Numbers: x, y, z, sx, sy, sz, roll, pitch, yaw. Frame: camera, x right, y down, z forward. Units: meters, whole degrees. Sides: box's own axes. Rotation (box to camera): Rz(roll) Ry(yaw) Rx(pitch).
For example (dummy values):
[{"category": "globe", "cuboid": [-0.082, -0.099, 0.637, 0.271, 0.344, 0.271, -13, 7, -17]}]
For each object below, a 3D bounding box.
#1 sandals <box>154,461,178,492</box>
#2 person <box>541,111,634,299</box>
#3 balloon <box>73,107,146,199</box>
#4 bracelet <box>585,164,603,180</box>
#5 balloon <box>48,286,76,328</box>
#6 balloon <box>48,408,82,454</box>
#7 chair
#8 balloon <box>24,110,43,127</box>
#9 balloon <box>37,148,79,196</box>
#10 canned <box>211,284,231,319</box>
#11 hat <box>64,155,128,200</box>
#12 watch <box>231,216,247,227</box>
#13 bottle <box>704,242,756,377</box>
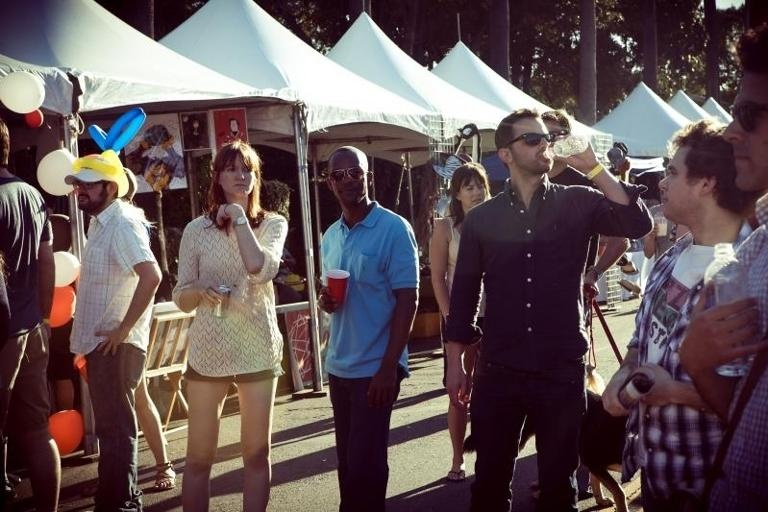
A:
[{"category": "sandals", "cuboid": [-1.984, 2.020, 5.873, 0.104, 0.155, 0.334, 0, -9, -4]}, {"category": "person", "cuboid": [1.877, -0.414, 5.297, 0.441, 0.374, 1.165, 11, -31, 27]}, {"category": "balloon", "cuboid": [-2.589, -0.986, 6.125, 0.878, 0.807, 0.306, -3, -40, 40]}, {"category": "bracelet", "cuboid": [1.349, -0.543, 4.121, 0.088, 0.025, 0.094, -48, -7, 31]}, {"category": "balloon", "cuboid": [-3.002, 0.477, 5.977, 0.247, 0.353, 0.266, 10, -3, -21]}, {"category": "balloon", "cuboid": [-3.065, 1.688, 6.219, 0.324, 0.440, 0.308, 3, 2, -40]}, {"category": "chair", "cuboid": [-2.106, 1.085, 6.429, 0.448, 1.485, 0.438, 16, -19, -36]}, {"category": "balloon", "cuboid": [-3.171, -1.251, 5.837, 0.131, 0.170, 0.127, -29, 30, -33]}, {"category": "balloon", "cuboid": [-2.931, -0.762, 5.805, 0.314, 0.410, 0.331, 29, 4, -16]}, {"category": "canned", "cuboid": [-1.173, 0.334, 4.646, 0.120, 0.242, 0.132, 0, 5, -7]}, {"category": "hat", "cuboid": [-2.338, -0.706, 5.310, 0.304, 0.343, 0.444, -4, -14, 30]}, {"category": "watch", "cuboid": [-1.049, -0.253, 4.643, 0.069, 0.072, 0.074, -29, 4, 2]}, {"category": "bottle", "cuboid": [1.588, 0.193, 2.974, 0.188, 0.674, 0.205, 0, -23, 0]}]
